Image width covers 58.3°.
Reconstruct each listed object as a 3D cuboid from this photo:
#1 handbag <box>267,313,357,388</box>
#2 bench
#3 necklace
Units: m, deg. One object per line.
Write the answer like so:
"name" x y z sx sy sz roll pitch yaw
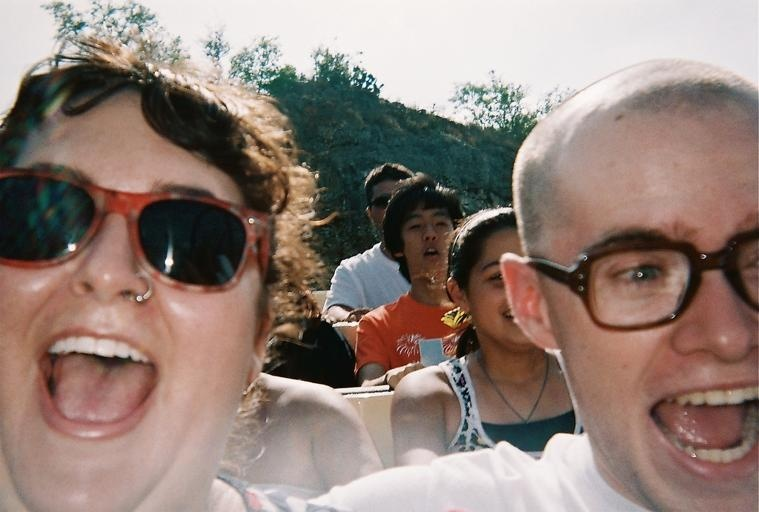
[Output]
"handbag" -0.303 0.389 3.048 0.149 0.414 0.243 2 -1 33
"bench" -0.118 0.546 2.971 0.495 0.693 0.575 -2 -24 -8
"necklace" 0.517 0.535 2.695 0.181 0.327 0.049 -9 -16 -19
